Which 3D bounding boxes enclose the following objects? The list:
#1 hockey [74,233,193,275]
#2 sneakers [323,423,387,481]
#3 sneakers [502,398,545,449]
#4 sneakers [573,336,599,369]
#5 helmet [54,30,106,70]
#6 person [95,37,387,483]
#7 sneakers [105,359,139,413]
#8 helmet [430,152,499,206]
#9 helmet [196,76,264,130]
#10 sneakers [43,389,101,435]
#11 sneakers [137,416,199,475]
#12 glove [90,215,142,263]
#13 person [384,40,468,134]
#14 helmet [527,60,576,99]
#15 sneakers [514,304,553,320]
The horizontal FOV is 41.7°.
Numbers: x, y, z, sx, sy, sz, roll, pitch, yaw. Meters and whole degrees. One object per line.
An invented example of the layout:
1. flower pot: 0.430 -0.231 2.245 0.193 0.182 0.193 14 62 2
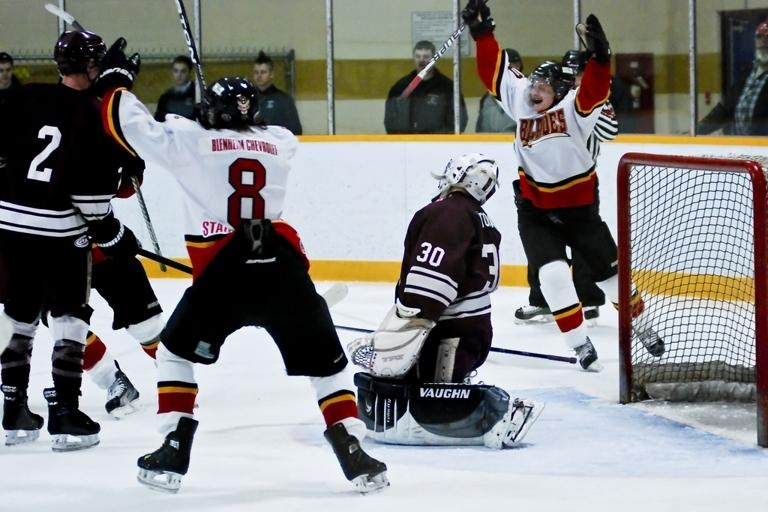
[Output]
1. hockey: -1.394 -0.020 5.681 0.719 0.082 0.098 19 -38 -19
2. sneakers: -0.075 0.833 4.226 0.284 0.275 0.093 -19 -5 37
3. sneakers: 0.638 0.754 4.636 0.169 0.218 0.077 30 12 10
4. sneakers: 1.148 0.555 5.749 0.179 0.076 0.062 -9 44 -29
5. helmet: -1.409 -0.925 4.788 0.251 0.241 0.203 -3 5 -13
6. person: -0.665 0.106 4.307 0.918 1.686 0.491 -4 14 -13
7. sneakers: -1.352 0.695 5.139 0.096 0.253 0.286 -19 -2 8
8. helmet: 0.400 -0.383 4.969 0.293 0.253 0.226 3 5 13
9. helmet: -0.672 -0.660 4.324 0.230 0.241 0.283 -5 7 -35
10. sneakers: -1.457 0.742 4.734 0.101 0.254 0.299 -12 -15 36
11. sneakers: -0.911 0.811 4.264 0.282 0.260 0.092 3 -11 31
12. glove: -1.269 -0.091 4.800 0.172 0.083 0.224 35 -16 -35
13. person: 0.333 -1.193 8.033 0.604 1.113 0.289 -4 40 2
14. helmet: 0.943 -0.970 5.741 0.287 0.264 0.241 3 10 -20
15. sneakers: 1.002 0.387 6.861 0.284 0.119 0.095 5 10 -14
